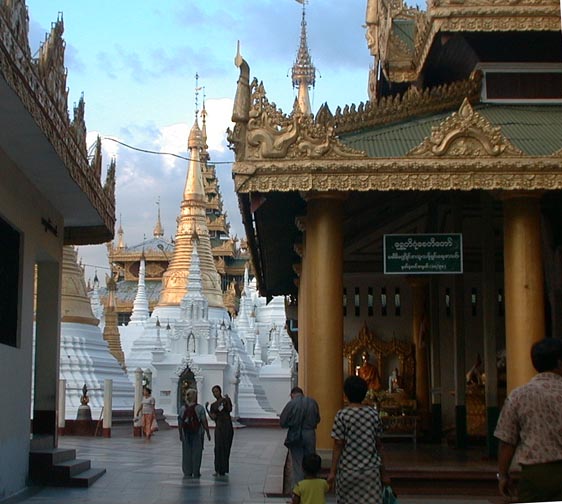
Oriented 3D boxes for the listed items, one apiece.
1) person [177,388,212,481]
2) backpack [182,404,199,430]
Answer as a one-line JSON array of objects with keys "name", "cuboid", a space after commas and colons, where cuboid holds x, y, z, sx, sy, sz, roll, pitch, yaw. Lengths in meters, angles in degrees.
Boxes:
[{"name": "person", "cuboid": [-1.307, 2.708, 12.982, 0.441, 1.325, 1.651, 0, -12, -7]}, {"name": "backpack", "cuboid": [-1.254, 2.375, 12.355, 0.299, 0.517, 0.250, 2, -13, -6]}]
